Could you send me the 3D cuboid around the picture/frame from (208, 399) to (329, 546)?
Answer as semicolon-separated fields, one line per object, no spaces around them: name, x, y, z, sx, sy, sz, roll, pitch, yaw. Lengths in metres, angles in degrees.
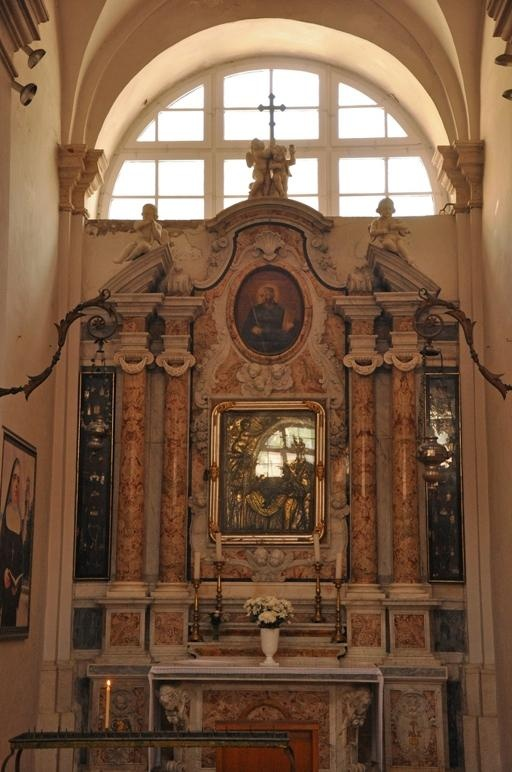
picture/frame;0.117;0.723;10.144;1.015;1.369;0.110;0;-15;2

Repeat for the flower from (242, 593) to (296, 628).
flower;0.110;1.645;9.336;0.365;0.233;0.350;5;-19;-17
